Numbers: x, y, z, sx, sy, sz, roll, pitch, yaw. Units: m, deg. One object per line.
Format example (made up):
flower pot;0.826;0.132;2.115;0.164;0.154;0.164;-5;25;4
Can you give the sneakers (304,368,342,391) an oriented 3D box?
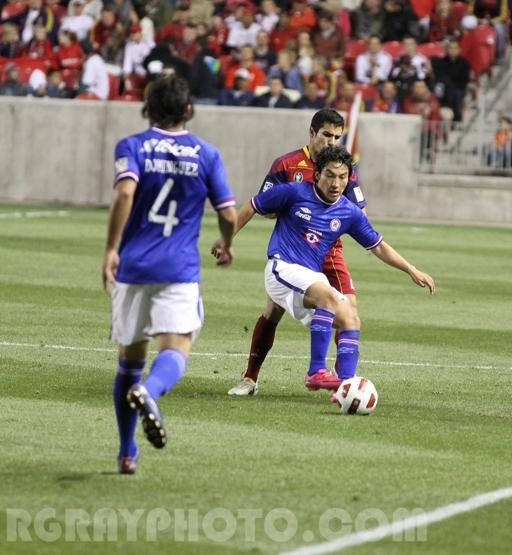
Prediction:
sneakers;0.362;0.572;7.199;0.085;0.107;0.225;8;-13;-36

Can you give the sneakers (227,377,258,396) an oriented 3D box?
sneakers;-0.082;0.645;7.508;0.070;0.090;0.190;11;4;37

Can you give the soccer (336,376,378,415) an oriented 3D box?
soccer;0.531;0.653;7.019;0.194;0.214;0.201;0;5;-7

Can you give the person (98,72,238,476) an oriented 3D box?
person;-0.474;0.005;5.911;0.583;1.850;0.852;5;8;14
